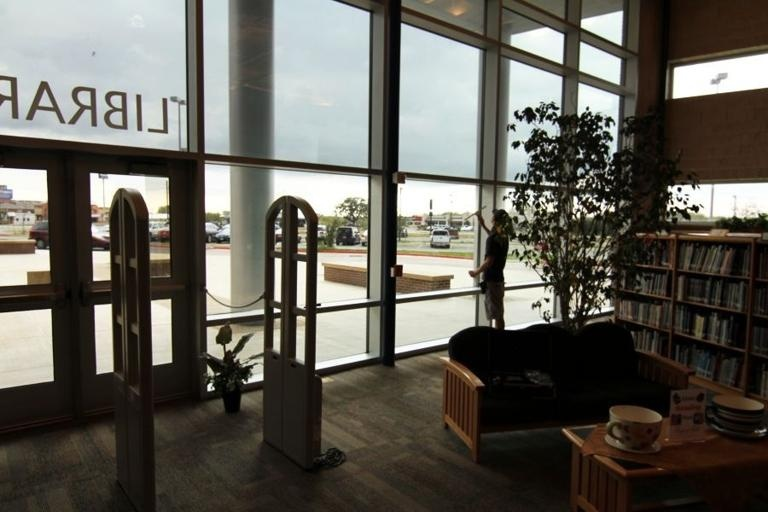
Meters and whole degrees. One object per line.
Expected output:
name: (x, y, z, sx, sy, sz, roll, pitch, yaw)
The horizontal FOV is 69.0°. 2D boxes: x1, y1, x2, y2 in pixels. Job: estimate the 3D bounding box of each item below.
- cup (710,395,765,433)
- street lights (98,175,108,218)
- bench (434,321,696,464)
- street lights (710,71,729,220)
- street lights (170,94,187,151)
cup: (3.142, 1.397, 4.991, 0.385, 0.186, 0.312, -4, 2, 34)
street lights: (-3.147, -0.717, 6.306, 0.093, 0.404, 0.033, -6, 6, -28)
bench: (1.931, 1.388, 6.020, 2.568, 1.065, 1.043, 0, 3, -17)
street lights: (5.548, -1.866, 9.290, 0.252, 2.367, 0.342, 0, 7, 33)
street lights: (-2.351, -1.534, 6.448, 0.172, 0.611, 0.042, -6, 6, -25)
